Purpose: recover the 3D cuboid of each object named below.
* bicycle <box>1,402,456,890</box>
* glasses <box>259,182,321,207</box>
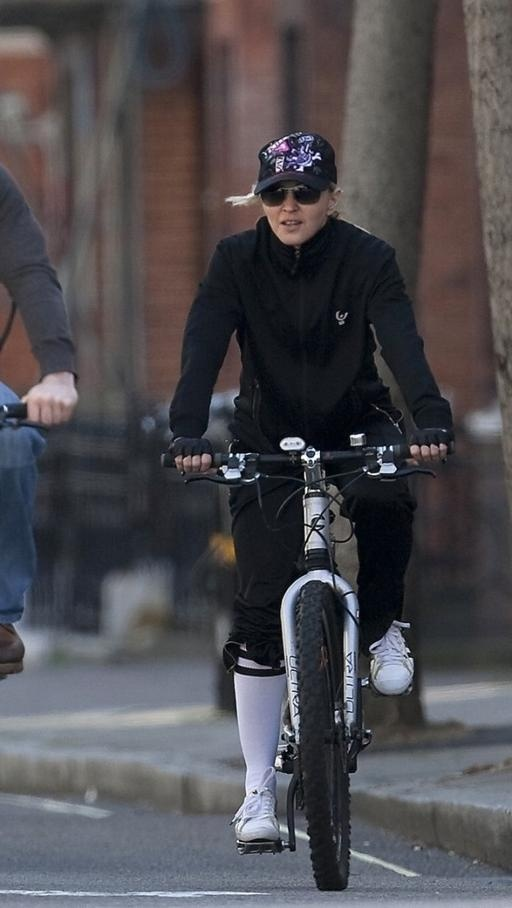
[{"bbox_3d":[-0.134,0.501,5.119,0.870,1.099,1.774,0,-11,-5],"label":"bicycle"},{"bbox_3d":[0.097,-0.751,5.330,0.169,0.061,0.054,-5,-9,11],"label":"glasses"}]
